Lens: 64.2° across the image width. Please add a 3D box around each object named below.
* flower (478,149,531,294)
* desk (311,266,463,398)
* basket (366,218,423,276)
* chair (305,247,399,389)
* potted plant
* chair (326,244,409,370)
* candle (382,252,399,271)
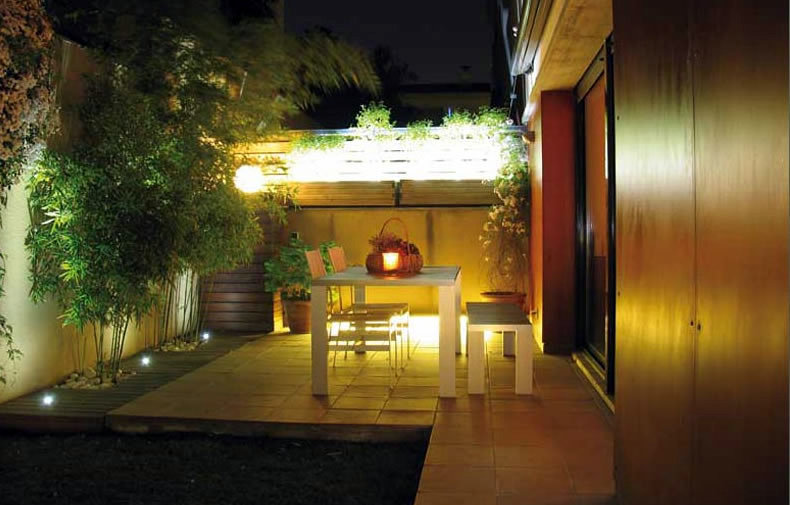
[{"bbox_3d":[1.678,-0.382,9.038,0.714,2.127,0.639,7,-3,-36],"label":"flower"},{"bbox_3d":[-0.031,0.625,6.164,1.296,1.040,1.624,-1,9,7],"label":"desk"},{"bbox_3d":[-0.003,-0.039,6.075,0.507,0.499,0.501,0,3,-12],"label":"basket"},{"bbox_3d":[-0.337,0.695,6.806,0.704,1.201,1.794,1,-2,1],"label":"chair"},{"bbox_3d":[-1.224,0.408,8.554,0.896,1.341,0.956,18,8,-6],"label":"potted plant"},{"bbox_3d":[-0.279,0.571,6.741,0.767,1.207,1.277,2,2,10],"label":"chair"},{"bbox_3d":[-0.031,0.088,5.902,0.149,0.130,0.155,-1,2,19],"label":"candle"}]
